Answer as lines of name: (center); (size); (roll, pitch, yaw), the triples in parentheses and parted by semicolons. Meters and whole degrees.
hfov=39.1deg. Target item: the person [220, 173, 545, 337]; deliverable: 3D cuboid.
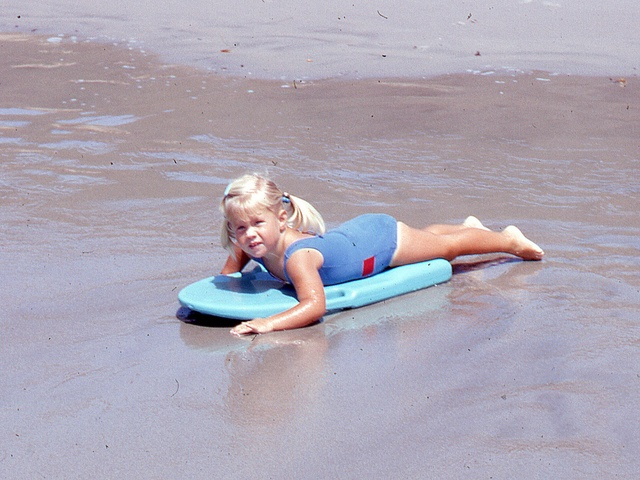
person: (0.624, -0.121, 8.616); (2.806, 0.783, 1.277); (-8, 12, -24)
